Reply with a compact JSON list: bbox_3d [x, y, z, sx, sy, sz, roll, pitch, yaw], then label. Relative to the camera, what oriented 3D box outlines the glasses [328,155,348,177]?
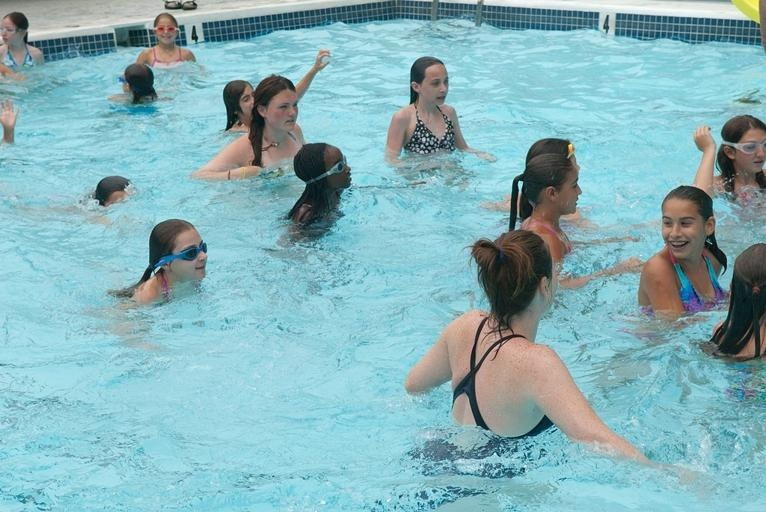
[{"bbox_3d":[-0.387,-0.826,6.021,0.178,0.050,0.153,-18,17,12],"label":"glasses"}]

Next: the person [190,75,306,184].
[{"bbox_3d":[-1.412,-1.348,6.989,1.021,1.021,0.410,-9,23,-13],"label":"person"}]

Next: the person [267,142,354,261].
[{"bbox_3d":[-0.687,-0.477,6.272,0.729,1.078,0.875,0,39,-11],"label":"person"}]

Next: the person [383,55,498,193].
[{"bbox_3d":[0.505,-1.657,7.522,1.026,1.169,0.379,-11,23,-16],"label":"person"}]

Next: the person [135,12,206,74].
[{"bbox_3d":[-3.548,-3.474,10.640,0.691,0.810,0.622,10,26,33],"label":"person"}]

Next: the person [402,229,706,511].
[{"bbox_3d":[0.784,0.567,3.793,0.666,1.043,1.871,-8,16,-39],"label":"person"}]

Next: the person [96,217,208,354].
[{"bbox_3d":[-1.762,0.108,5.299,0.882,0.665,1.013,5,16,19],"label":"person"}]

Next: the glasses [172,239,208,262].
[{"bbox_3d":[-1.479,-0.048,5.102,0.198,0.049,0.158,-5,11,22],"label":"glasses"}]

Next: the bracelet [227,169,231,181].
[{"bbox_3d":[-1.637,-0.867,7.053,0.039,0.083,0.085,-9,21,-10],"label":"bracelet"}]
